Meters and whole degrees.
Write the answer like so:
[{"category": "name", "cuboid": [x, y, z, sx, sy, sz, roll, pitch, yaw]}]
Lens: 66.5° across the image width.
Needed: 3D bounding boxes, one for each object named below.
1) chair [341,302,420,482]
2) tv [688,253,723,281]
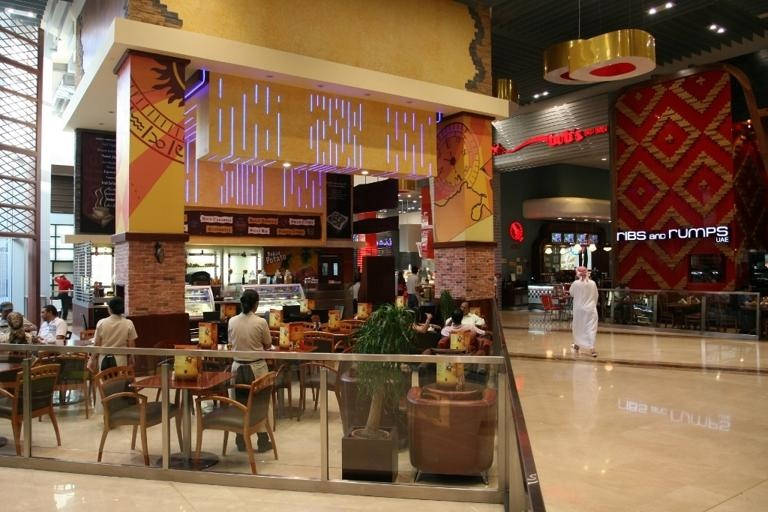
[{"category": "chair", "cuboid": [-0.117, 1.766, 7.500, 0.934, 1.983, 0.879, 7, 13, 1]}, {"category": "tv", "cuboid": [9.653, 0.360, 17.503, 0.160, 0.912, 0.995, -4, 16, -39]}]
